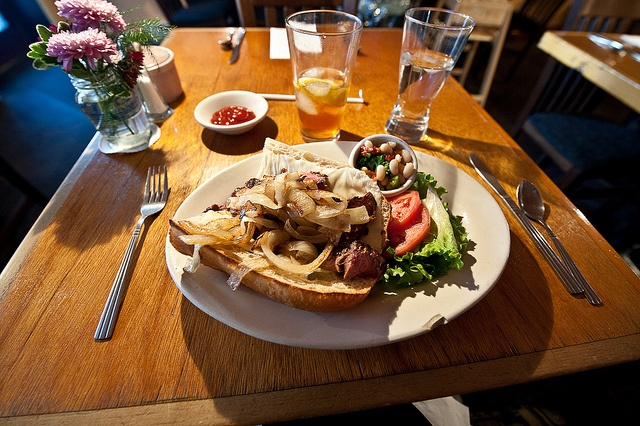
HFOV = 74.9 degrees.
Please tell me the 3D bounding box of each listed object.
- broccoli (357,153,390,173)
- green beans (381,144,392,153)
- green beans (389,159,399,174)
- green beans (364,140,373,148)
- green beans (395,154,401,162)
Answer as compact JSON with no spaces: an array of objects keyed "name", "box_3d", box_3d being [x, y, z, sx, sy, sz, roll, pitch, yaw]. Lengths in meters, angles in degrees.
[{"name":"broccoli","box_3d":[0.332,-0.310,2.668,0.132,0.048,0.134,25,88,14]},{"name":"green beans","box_3d":[0.412,-0.404,2.609,0.061,0.048,0.047,15,59,14]},{"name":"green beans","box_3d":[0.448,-0.281,2.545,0.058,0.044,0.078,-2,92,8]},{"name":"green beans","box_3d":[0.308,-0.434,2.621,0.036,0.036,0.048,-3,18,-6]},{"name":"green beans","box_3d":[0.483,-0.342,2.576,0.032,0.032,0.042,-4,22,-11]}]
